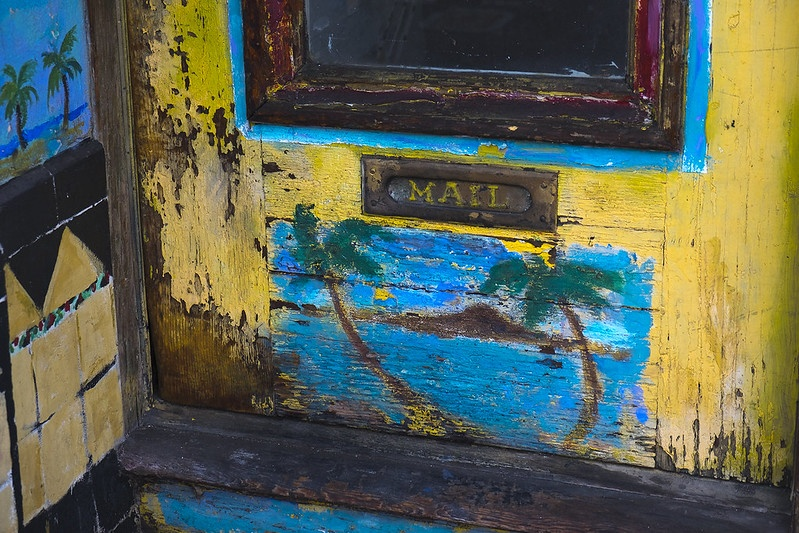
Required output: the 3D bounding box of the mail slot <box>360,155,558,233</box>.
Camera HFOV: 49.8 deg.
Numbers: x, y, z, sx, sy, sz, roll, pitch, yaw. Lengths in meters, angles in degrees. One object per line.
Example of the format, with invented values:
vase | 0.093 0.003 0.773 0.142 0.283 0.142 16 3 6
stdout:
mail slot | 0.120 -0.152 1.789 0.410 0.128 0.039 5 3 13
